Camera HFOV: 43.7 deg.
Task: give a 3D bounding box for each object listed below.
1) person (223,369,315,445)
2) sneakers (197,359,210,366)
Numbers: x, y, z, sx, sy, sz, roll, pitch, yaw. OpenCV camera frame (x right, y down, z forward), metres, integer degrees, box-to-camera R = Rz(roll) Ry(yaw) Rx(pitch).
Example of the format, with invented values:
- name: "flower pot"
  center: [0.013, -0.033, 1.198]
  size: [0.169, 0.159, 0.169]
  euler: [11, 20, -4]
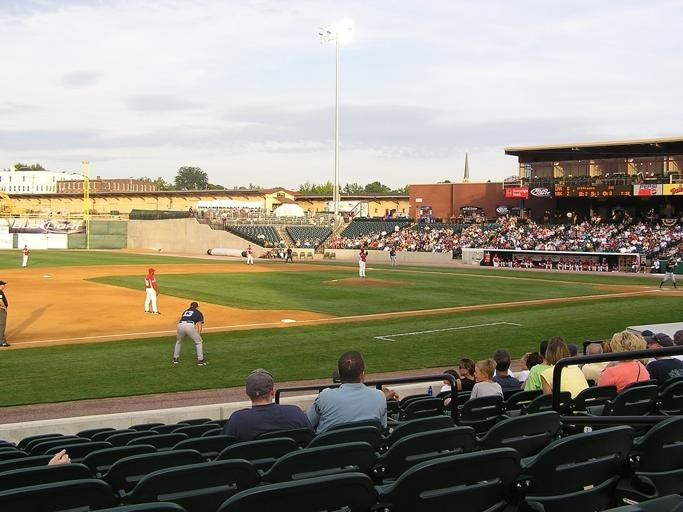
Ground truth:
- name: "person"
  center: [-0.835, 1.662, 9.814]
  size: [1.303, 0.771, 0.609]
  euler: [-13, -2, 23]
- name: "sneakers"
  center: [-3.108, 2.352, 18.929]
  size: [0.266, 0.091, 0.097]
  euler: [0, 2, 31]
